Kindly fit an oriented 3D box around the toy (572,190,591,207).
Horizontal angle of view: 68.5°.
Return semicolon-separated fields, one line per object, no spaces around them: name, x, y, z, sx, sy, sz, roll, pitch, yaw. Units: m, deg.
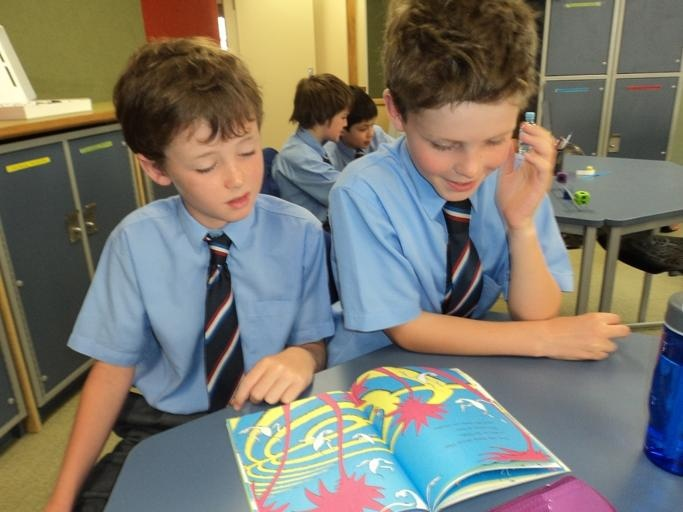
toy;1.015;-0.254;2.126;0.068;0.066;0.073;-10;23;-36
